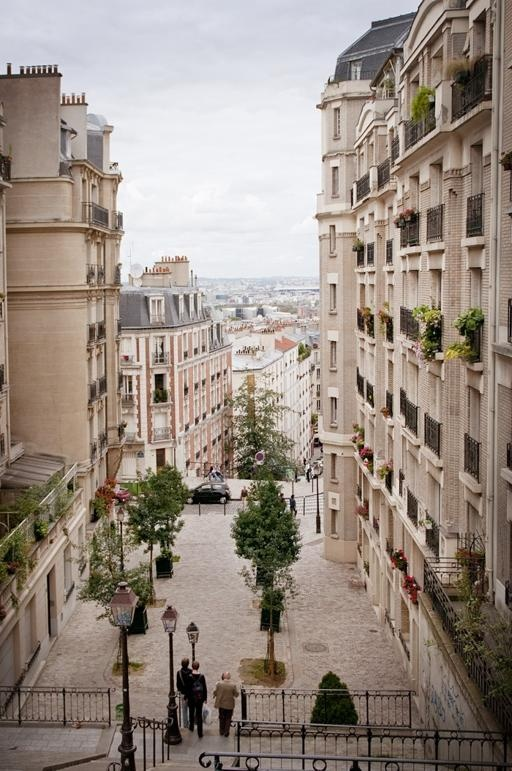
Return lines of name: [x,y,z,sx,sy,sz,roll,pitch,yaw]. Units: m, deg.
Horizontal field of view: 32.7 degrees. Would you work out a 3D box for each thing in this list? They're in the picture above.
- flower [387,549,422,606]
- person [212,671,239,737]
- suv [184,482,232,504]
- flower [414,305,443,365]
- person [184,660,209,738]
flower: [3.734,4.715,21.805,0.320,0.525,1.333,-10,32,-2]
person: [-0.629,6.597,18.266,0.460,1.485,0.451,4,18,7]
suv: [-2.645,6.562,50.731,2.261,1.299,1.557,2,1,-3]
flower: [3.592,-1.080,17.980,0.427,1.045,0.725,6,10,14]
person: [-1.270,6.746,18.955,0.415,1.629,0.344,5,11,14]
